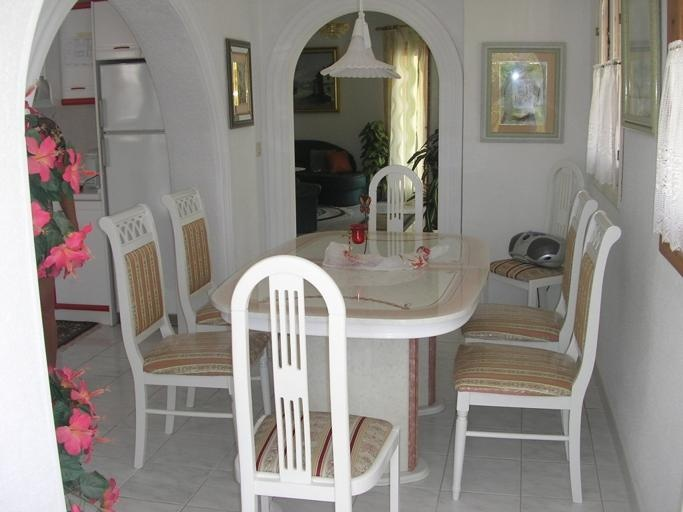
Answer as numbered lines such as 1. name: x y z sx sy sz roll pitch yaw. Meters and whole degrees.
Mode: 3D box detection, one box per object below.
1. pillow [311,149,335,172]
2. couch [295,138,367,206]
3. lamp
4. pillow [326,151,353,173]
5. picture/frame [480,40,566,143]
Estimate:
1. pillow: -0.320 -1.637 9.573 0.358 0.340 0.194 2 9 14
2. couch: -0.192 -1.436 9.587 1.262 1.084 0.976 0 15 4
3. lamp: 0.136 -1.308 3.262 0.398 0.498 0.793 1 15 10
4. pillow: -0.045 -1.613 9.480 0.406 0.393 0.130 -6 -11 -37
5. picture/frame: 1.467 -1.326 4.379 0.772 0.923 0.065 1 16 8
